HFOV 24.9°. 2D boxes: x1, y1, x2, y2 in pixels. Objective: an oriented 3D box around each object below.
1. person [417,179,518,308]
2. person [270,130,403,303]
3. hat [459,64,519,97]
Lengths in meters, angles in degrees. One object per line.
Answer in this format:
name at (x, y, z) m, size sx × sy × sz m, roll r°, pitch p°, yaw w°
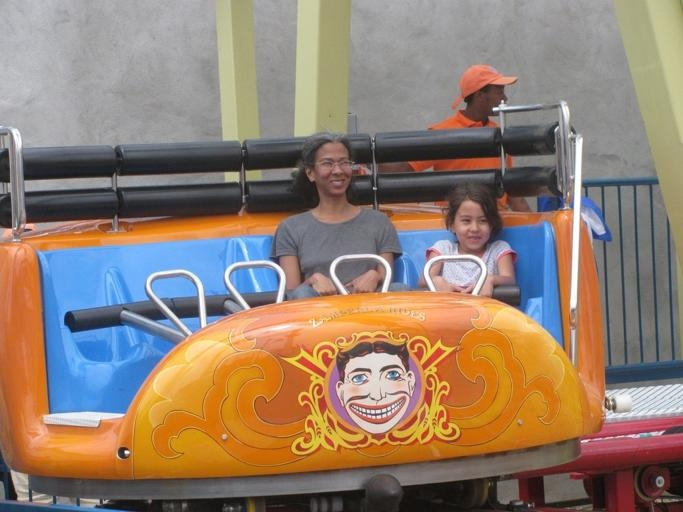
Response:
person at (0.818, -0.087, 9.486) m, size 0.535 × 0.706 × 0.627 m, roll 1°, pitch -4°, yaw 12°
person at (-0.017, -0.154, 9.471) m, size 0.843 × 1.163 × 0.921 m, roll -1°, pitch 6°, yaw -4°
hat at (1.001, -1.222, 11.046) m, size 0.457 × 0.228 × 0.289 m, roll -11°, pitch -6°, yaw -6°
